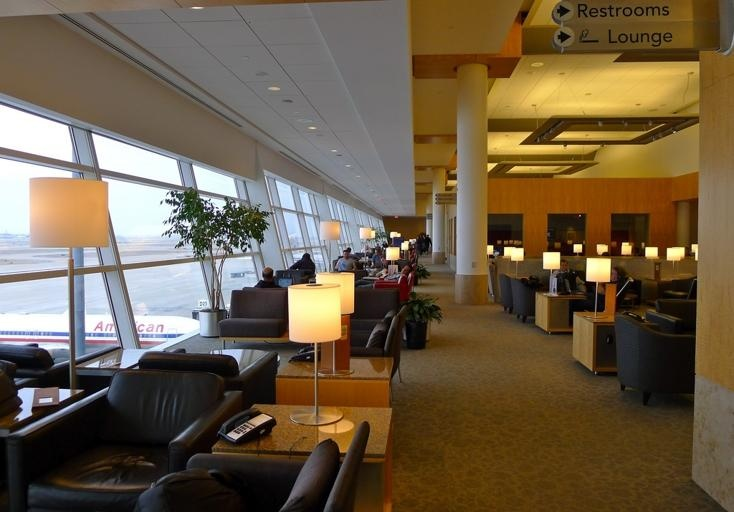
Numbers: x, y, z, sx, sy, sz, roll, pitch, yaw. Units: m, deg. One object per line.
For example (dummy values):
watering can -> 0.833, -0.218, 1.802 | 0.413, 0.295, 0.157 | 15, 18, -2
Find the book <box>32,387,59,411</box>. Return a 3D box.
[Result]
book -> -2.758, 1.218, 4.303 | 0.159, 0.038, 0.155 | 2, 13, -15

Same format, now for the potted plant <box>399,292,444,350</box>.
potted plant -> 0.883, 1.108, 8.637 | 0.922, 1.068, 0.853 | 3, 1, 3

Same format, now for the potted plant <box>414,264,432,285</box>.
potted plant -> 1.866, 0.585, 16.441 | 0.697, 0.689, 0.689 | 2, -7, -3

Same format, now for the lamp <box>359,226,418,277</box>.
lamp -> 0.778, -0.099, 19.741 | 1.568, 1.880, 5.274 | 1, 6, 9

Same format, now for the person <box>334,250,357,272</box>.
person -> -0.735, 0.149, 16.276 | 0.676, 1.042, 0.544 | 0, -11, 9

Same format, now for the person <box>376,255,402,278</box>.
person -> 0.631, 0.454, 14.528 | 0.566, 0.558, 1.018 | -1, 41, -2

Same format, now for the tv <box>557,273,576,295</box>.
tv -> 3.933, 0.558, 9.923 | 0.397, 0.533, 0.291 | -1, -1, -2

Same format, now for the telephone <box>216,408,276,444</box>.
telephone -> -0.878, 1.234, 3.725 | 0.208, 0.111, 0.293 | -1, 3, 37

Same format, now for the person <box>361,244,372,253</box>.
person -> -0.036, -0.382, 24.261 | 0.578, 0.310, 0.785 | -2, 1, 2
